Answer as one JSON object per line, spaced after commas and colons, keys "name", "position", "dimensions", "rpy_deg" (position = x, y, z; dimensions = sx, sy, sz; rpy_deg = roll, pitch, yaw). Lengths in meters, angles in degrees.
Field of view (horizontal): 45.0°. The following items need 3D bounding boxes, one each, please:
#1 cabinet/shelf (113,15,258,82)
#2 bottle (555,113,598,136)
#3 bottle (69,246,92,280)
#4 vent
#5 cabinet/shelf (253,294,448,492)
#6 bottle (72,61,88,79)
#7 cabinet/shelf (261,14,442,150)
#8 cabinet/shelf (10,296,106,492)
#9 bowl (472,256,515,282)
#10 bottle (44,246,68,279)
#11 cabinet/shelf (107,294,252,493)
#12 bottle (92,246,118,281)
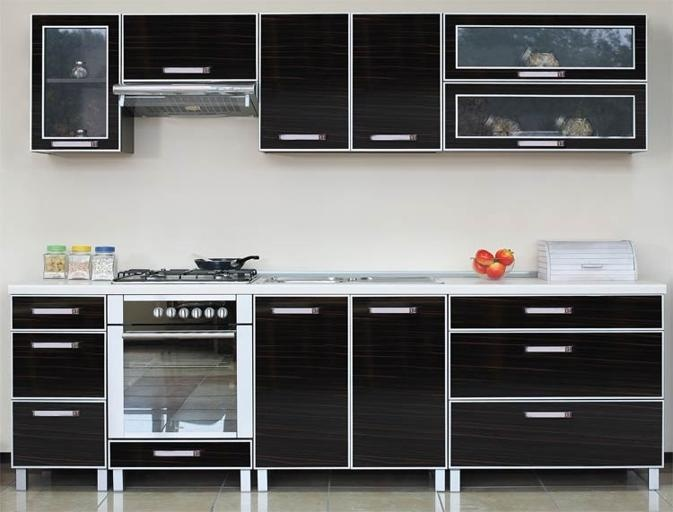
{"name": "cabinet/shelf", "position": [-1.076, -1.344, 5.227], "dimensions": [0.983, 0.389, 0.491], "rpy_deg": [-11, 20, -37]}
{"name": "bottle", "position": [1.493, -0.821, 5.110], "dimensions": [0.160, 0.073, 0.164], "rpy_deg": [1, 2, 0]}
{"name": "bottle", "position": [-1.651, 0.036, 5.193], "dimensions": [0.123, 0.256, 0.184], "rpy_deg": [3, -13, -31]}
{"name": "vent", "position": [-0.937, -0.975, 5.145], "dimensions": [0.893, 0.194, 0.488], "rpy_deg": [-3, -10, -1]}
{"name": "cabinet/shelf", "position": [0.379, 0.791, 5.408], "dimensions": [1.553, 1.064, 1.420], "rpy_deg": [-4, -10, 15]}
{"name": "bottle", "position": [-1.611, -1.158, 5.090], "dimensions": [0.104, 0.102, 0.037], "rpy_deg": [1, 5, 2]}
{"name": "cabinet/shelf", "position": [0.119, -1.109, 5.261], "dimensions": [1.139, 0.839, 0.325], "rpy_deg": [1, 12, 8]}
{"name": "cabinet/shelf", "position": [-1.660, 0.816, 4.869], "dimensions": [0.539, 1.183, 0.393], "rpy_deg": [0, -13, -17]}
{"name": "bowl", "position": [0.993, 0.079, 5.128], "dimensions": [0.191, 0.100, 0.188], "rpy_deg": [-1, 0, 0]}
{"name": "bottle", "position": [-1.800, 0.030, 5.202], "dimensions": [0.133, 0.236, 0.156], "rpy_deg": [0, -12, -20]}
{"name": "cabinet/shelf", "position": [-1.212, 0.855, 5.125], "dimensions": [1.118, 1.142, 0.970], "rpy_deg": [6, -16, -33]}
{"name": "bottle", "position": [-1.465, 0.045, 5.159], "dimensions": [0.166, 0.239, 0.126], "rpy_deg": [2, -13, -25]}
